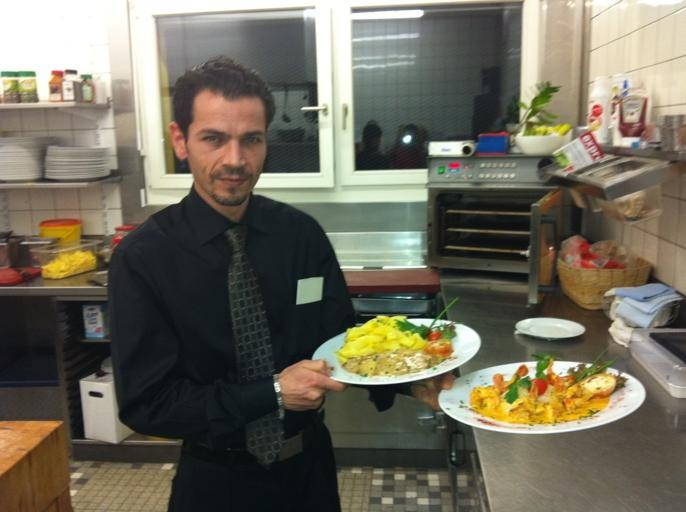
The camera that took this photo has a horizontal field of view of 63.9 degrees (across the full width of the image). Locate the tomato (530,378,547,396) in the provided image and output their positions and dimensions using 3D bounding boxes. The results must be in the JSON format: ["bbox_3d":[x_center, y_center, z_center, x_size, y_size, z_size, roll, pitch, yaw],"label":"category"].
[{"bbox_3d":[0.514,0.339,1.431,0.044,0.036,0.043,-4,-3,-36],"label":"tomato"}]

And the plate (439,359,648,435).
[{"bbox_3d":[0.522,0.365,1.472,0.531,0.074,0.358,-2,13,3],"label":"plate"}]

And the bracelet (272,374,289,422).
[{"bbox_3d":[-0.181,0.407,1.559,0.024,0.158,0.082,-8,17,-8],"label":"bracelet"}]

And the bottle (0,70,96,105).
[{"bbox_3d":[-1.777,-1.008,3.303,0.407,0.106,0.099,0,6,3],"label":"bottle"}]

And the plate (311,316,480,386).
[{"bbox_3d":[0.157,0.276,1.558,0.477,0.064,0.344,-4,13,-6],"label":"plate"}]

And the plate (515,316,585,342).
[{"bbox_3d":[0.789,0.277,2.088,0.180,0.044,0.220,-14,17,-40],"label":"plate"}]

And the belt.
[{"bbox_3d":[-0.272,0.520,1.569,0.292,0.053,0.264,-5,6,-30],"label":"belt"}]

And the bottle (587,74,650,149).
[{"bbox_3d":[1.092,-0.565,2.136,0.172,0.268,0.395,-1,15,12],"label":"bottle"}]

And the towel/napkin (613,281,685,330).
[{"bbox_3d":[1.104,0.168,1.957,0.212,0.070,0.185,-14,14,-11],"label":"towel/napkin"}]

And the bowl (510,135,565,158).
[{"bbox_3d":[0.985,-0.545,2.738,0.323,0.083,0.276,-1,7,5],"label":"bowl"}]
